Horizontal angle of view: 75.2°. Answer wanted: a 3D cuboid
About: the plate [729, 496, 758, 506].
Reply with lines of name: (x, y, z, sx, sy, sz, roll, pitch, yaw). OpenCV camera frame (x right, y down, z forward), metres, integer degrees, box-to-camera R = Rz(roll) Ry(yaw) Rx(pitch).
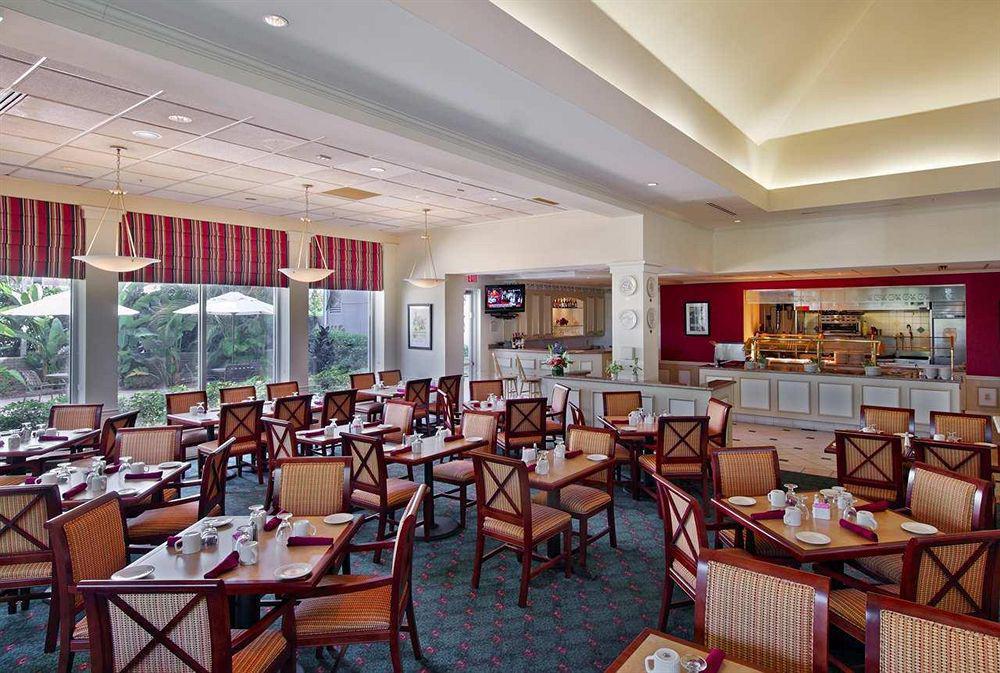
plate: (2.174, 1.464, 5.797, 0.272, 0.030, 0.137, 0, 12, -1)

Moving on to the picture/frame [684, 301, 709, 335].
picture/frame: (4.546, -0.415, 14.942, 0.126, 0.808, 0.659, -12, 17, -42)

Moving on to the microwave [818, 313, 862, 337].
microwave: (7.213, -0.272, 13.784, 0.797, 0.524, 0.201, 5, 14, 21)

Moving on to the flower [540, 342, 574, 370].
flower: (1.081, 0.382, 11.503, 0.530, 0.630, 0.596, 0, -1, -21)

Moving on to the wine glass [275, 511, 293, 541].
wine glass: (-1.775, 1.557, 5.336, 0.172, 0.188, 0.171, -2, 4, -22)

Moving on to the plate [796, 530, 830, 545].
plate: (2.514, 1.609, 5.229, 0.280, 0.030, 0.229, 0, 12, -4)

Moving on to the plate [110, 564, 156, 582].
plate: (-2.689, 1.742, 4.732, 0.263, 0.055, 0.248, 2, 2, -1)

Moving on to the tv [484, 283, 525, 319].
tv: (0.065, -0.791, 13.917, 0.885, 0.556, 0.282, 0, -4, 21)

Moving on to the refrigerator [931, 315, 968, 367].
refrigerator: (8.732, 0.062, 12.653, 0.635, 0.962, 0.185, 11, 17, 40)

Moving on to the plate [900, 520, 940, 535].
plate: (3.425, 1.562, 5.323, 0.253, 0.046, 0.229, 9, 15, 37)

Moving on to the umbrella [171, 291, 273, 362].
umbrella: (-4.775, -0.189, 11.060, 1.171, 0.712, 1.131, -1, 2, 17)
